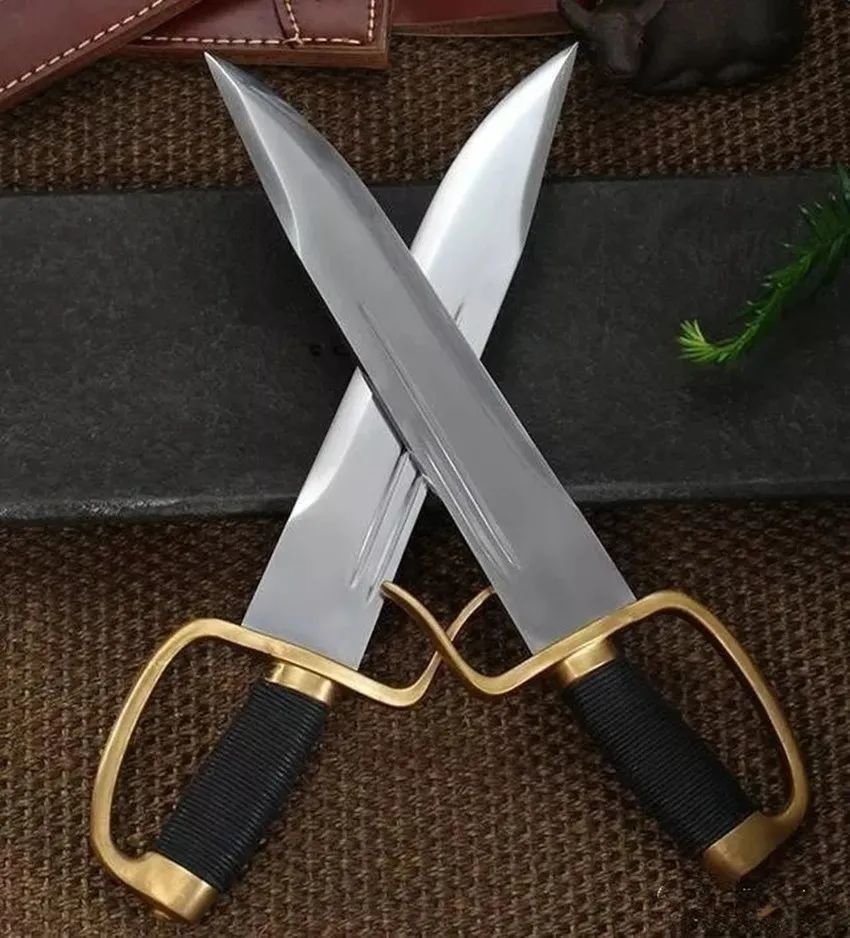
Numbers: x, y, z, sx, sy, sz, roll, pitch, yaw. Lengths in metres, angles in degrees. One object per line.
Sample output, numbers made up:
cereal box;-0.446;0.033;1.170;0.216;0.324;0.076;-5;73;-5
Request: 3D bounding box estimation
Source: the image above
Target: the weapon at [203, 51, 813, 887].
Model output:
weapon;0.018;-0.004;0.710;0.197;0.052;0.634;-38;79;-12
